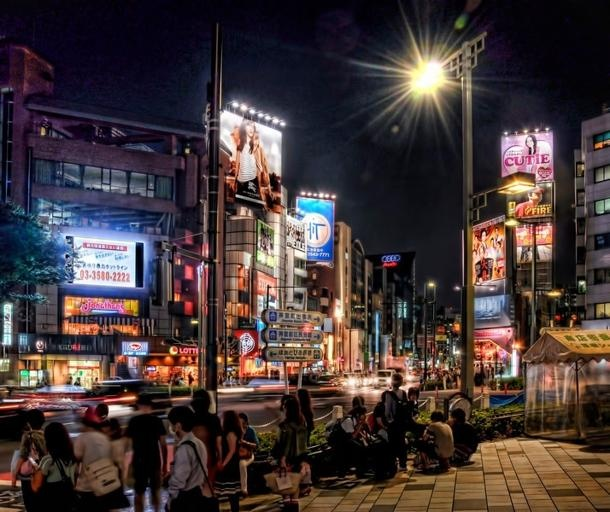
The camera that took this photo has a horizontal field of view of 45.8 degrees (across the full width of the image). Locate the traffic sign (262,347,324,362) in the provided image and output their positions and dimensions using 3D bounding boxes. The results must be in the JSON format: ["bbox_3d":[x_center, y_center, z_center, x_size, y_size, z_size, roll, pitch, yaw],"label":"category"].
[{"bbox_3d":[-0.300,2.728,20.065,0.567,0.421,2.010,-12,-15,43],"label":"traffic sign"}]

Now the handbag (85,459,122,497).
[{"bbox_3d":[-3.050,3.320,10.830,0.215,0.431,0.390,-23,-1,45],"label":"handbag"}]

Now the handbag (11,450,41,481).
[{"bbox_3d":[-4.316,3.237,11.214,0.395,0.483,0.267,1,-31,10],"label":"handbag"}]

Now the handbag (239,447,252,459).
[{"bbox_3d":[-1.131,3.781,13.966,0.124,0.255,0.463,-4,-11,15],"label":"handbag"}]

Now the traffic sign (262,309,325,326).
[{"bbox_3d":[-0.303,1.692,20.094,2.002,0.452,0.429,5,-12,-35],"label":"traffic sign"}]

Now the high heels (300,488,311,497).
[{"bbox_3d":[0.020,4.742,14.619,0.120,0.198,0.374,-7,-29,16],"label":"high heels"}]
